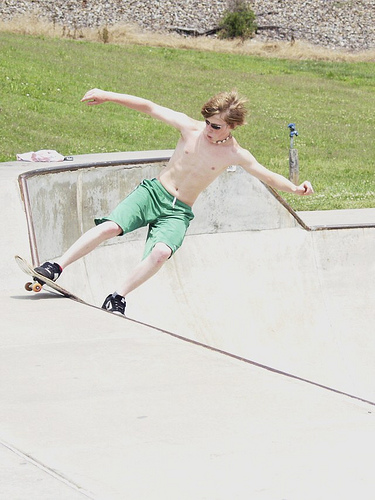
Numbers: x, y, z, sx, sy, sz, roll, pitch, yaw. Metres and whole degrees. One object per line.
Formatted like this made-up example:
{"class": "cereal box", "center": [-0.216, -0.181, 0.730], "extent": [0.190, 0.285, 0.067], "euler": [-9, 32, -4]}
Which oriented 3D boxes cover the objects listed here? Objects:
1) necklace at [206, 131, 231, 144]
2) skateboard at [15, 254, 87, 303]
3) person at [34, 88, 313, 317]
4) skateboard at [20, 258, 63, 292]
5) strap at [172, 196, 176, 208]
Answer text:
{"class": "necklace", "center": [0.204, -0.696, 6.134], "extent": [0.190, 0.053, 0.070], "euler": [-7, 16, -33]}
{"class": "skateboard", "center": [-0.859, 0.176, 6.013], "extent": [0.439, 0.078, 0.105], "euler": [39, -15, -30]}
{"class": "person", "center": [-0.089, -0.238, 6.527], "extent": [1.394, 1.591, 0.673], "euler": [35, -14, 12]}
{"class": "skateboard", "center": [-0.861, 0.143, 5.740], "extent": [0.237, 0.205, 0.114], "euler": [-1, 14, -10]}
{"class": "strap", "center": [-0.088, -0.305, 6.163], "extent": [0.015, 0.053, 0.028], "euler": [7, 15, 21]}
